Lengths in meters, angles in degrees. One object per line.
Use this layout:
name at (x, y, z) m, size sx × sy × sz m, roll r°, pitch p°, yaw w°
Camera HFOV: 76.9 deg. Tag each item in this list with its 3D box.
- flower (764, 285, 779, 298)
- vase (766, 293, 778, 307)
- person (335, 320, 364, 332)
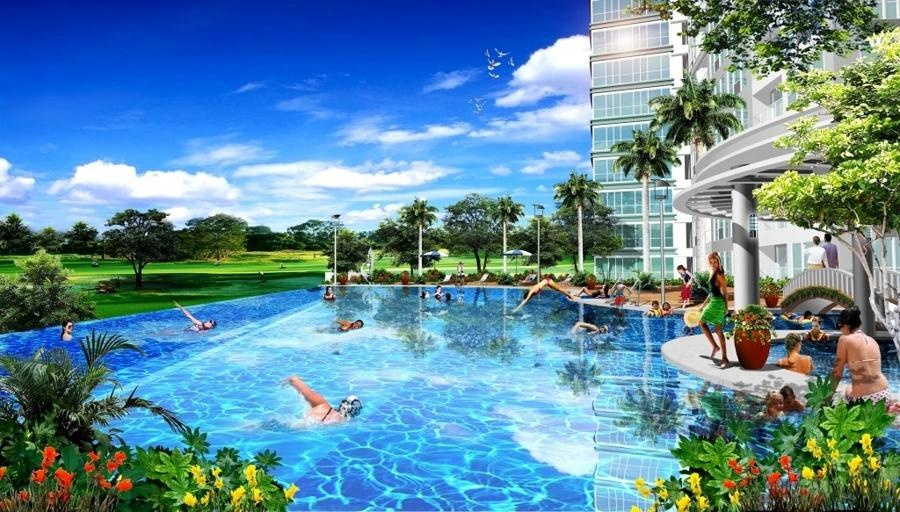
flower at (17.684, 1.996, 31.118) m, size 0.829 × 0.442 × 0.749 m, roll -2°, pitch 6°, yaw -41°
vase at (17.326, 2.397, 30.269) m, size 0.682 × 0.569 × 0.655 m, roll 0°, pitch -4°, yaw 4°
person at (-5.058, 3.505, 28.702) m, size 1.213 × 0.542 × 1.006 m, roll -7°, pitch 14°, yaw -20°
